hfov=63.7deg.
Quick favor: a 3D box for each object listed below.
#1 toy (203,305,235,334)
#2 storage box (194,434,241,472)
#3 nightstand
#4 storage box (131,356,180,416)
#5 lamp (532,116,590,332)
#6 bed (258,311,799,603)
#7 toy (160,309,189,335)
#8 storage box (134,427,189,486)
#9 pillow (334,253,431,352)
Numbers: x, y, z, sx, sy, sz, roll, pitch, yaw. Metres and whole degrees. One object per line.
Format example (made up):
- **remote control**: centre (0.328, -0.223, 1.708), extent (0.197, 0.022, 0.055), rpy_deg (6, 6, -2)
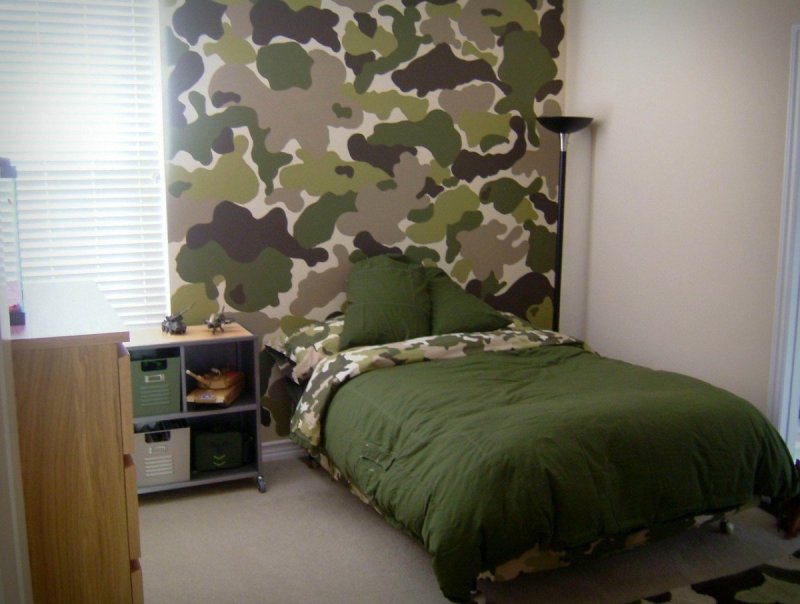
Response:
- **toy**: centre (-1.072, 0.105, 3.807), extent (0.120, 0.101, 0.170), rpy_deg (4, 18, 5)
- **storage box**: centre (-1.047, 0.850, 3.677), extent (0.201, 0.189, 0.094), rpy_deg (-1, 4, -23)
- **nightstand**: centre (-1.140, 0.589, 3.539), extent (0.839, 0.820, 0.466), rpy_deg (-4, 8, -32)
- **storage box**: centre (-1.334, 0.439, 3.614), extent (0.278, 0.297, 0.283), rpy_deg (-3, 15, -19)
- **lamp**: centre (1.131, -0.545, 4.611), extent (0.363, 1.534, 0.519), rpy_deg (3, 13, 15)
- **bed**: centre (0.337, 0.520, 3.165), extent (1.301, 0.574, 1.644), rpy_deg (-8, 14, -30)
- **toy**: centre (-1.295, 0.107, 3.720), extent (0.081, 0.111, 0.247), rpy_deg (-3, 14, -28)
- **storage box**: centre (-1.300, 0.813, 3.604), extent (0.284, 0.287, 0.286), rpy_deg (0, 2, -35)
- **pillow**: centre (-0.096, 0.019, 3.836), extent (0.472, 0.509, 0.158), rpy_deg (-1, -28, -12)
